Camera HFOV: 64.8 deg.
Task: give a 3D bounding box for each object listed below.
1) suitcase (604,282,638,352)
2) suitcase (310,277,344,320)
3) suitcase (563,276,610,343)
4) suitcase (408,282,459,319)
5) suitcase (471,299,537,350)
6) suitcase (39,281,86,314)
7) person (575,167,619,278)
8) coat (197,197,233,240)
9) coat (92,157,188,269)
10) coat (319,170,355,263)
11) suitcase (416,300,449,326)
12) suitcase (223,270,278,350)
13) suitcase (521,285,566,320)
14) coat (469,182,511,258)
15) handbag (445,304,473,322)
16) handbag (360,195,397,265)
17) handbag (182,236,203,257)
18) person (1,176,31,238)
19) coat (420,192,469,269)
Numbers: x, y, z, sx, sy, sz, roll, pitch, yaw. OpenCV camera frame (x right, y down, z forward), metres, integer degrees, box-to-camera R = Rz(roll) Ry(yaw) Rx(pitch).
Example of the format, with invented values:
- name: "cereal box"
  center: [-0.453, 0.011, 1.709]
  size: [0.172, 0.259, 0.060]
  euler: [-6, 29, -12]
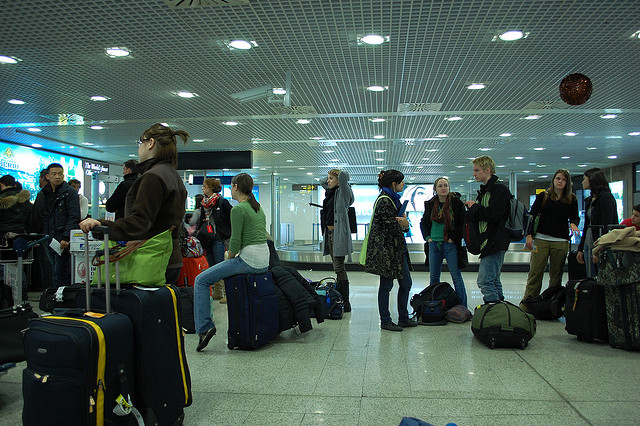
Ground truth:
- name: "suitcase"
  center: [3.691, 1.250, 6.145]
  size: [0.353, 0.835, 0.152]
  euler: [2, 5, 24]
- name: "suitcase"
  center: [0.165, 1.377, 7.904]
  size: [0.678, 0.602, 0.419]
  euler: [2, -7, 0]
- name: "suitcase"
  center: [3.434, 1.245, 6.463]
  size: [0.496, 0.806, 0.283]
  euler: [2, 5, 28]
- name: "suitcase"
  center: [1.703, 1.258, 7.529]
  size: [0.643, 0.254, 0.461]
  euler: [-19, -1, -19]
- name: "suitcase"
  center: [2.424, 1.349, 6.598]
  size: [0.840, 0.387, 1.129]
  euler: [3, 10, 14]
- name: "suitcase"
  center: [-2.902, 0.901, 5.466]
  size: [0.384, 0.178, 0.563]
  euler: [7, 1, 31]
- name: "person"
  center: [4.179, 0.195, 7.580]
  size: [0.513, 1.717, 1.082]
  euler: [1, 5, 21]
- name: "coat"
  center: [-1.633, 0.133, 8.103]
  size: [0.348, 0.541, 0.613]
  euler: [6, -1, -26]
- name: "coat"
  center: [-1.544, -0.070, 4.682]
  size: [0.715, 0.858, 1.165]
  euler: [2, -1, 4]
- name: "coat"
  center: [0.361, 0.050, 8.011]
  size: [0.300, 1.423, 0.424]
  euler: [0, 5, 3]
- name: "suitcase"
  center: [1.670, 1.446, 7.347]
  size: [0.500, 0.332, 0.370]
  euler: [-6, -7, 25]
- name: "suitcase"
  center: [-0.844, 1.221, 6.280]
  size: [0.661, 0.943, 0.291]
  euler: [-1, 5, -11]
- name: "suitcase"
  center: [3.276, 1.321, 7.443]
  size: [0.634, 0.245, 0.453]
  euler: [-3, 6, 14]
- name: "coat"
  center: [2.290, 0.092, 6.948]
  size: [0.583, 1.001, 0.842]
  euler: [1, 5, 6]
- name: "handbag"
  center: [2.092, 1.467, 7.434]
  size: [0.303, 0.082, 0.253]
  euler: [-4, 7, -39]
- name: "handbag"
  center: [0.731, 0.245, 7.092]
  size: [0.528, 0.853, 0.216]
  euler: [6, 10, -14]
- name: "handbag"
  center: [-1.962, 0.515, 7.673]
  size: [0.183, 0.293, 0.320]
  euler: [3, 8, 20]
- name: "person"
  center: [-4.369, -0.116, 7.188]
  size: [0.357, 0.801, 0.874]
  euler: [-3, 5, -30]
- name: "coat"
  center: [1.938, 0.295, 7.619]
  size: [0.484, 1.147, 0.939]
  euler: [-4, 6, -38]
